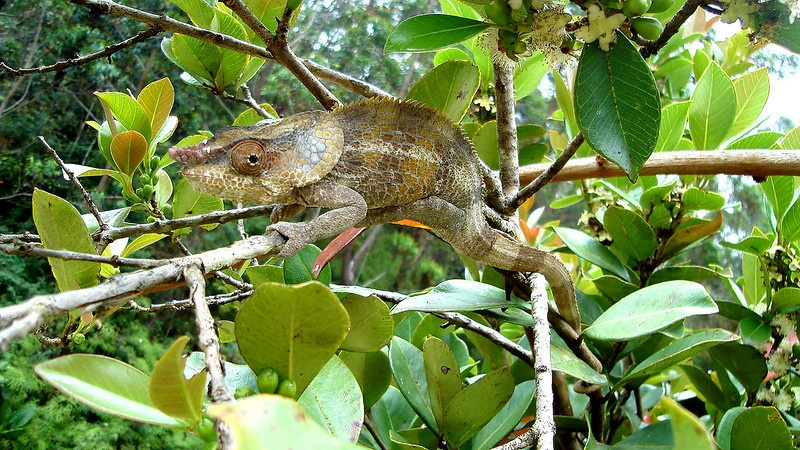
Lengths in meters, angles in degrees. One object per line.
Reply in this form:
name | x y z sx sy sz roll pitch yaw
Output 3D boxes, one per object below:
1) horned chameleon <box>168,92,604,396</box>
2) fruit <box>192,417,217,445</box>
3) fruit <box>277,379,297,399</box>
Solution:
horned chameleon | 0.029 -0.218 3.680 2.000 0.846 0.571 10 8 -12
fruit | -0.769 0.822 3.082 0.089 0.109 0.048 -17 9 25
fruit | -0.464 0.677 3.172 0.071 0.070 0.032 5 16 -4
